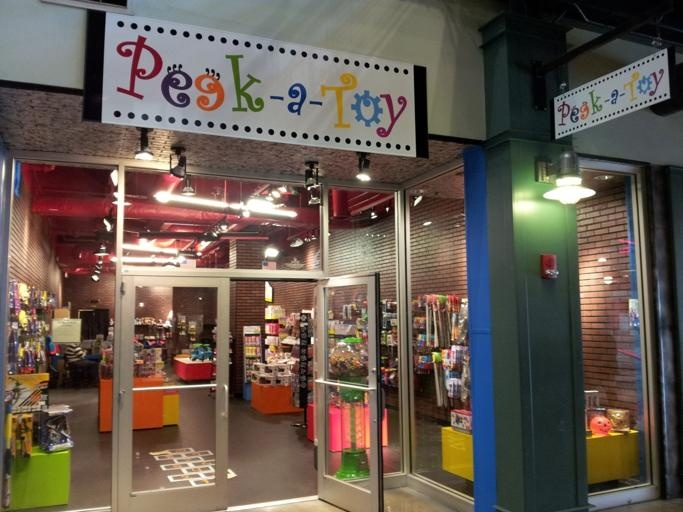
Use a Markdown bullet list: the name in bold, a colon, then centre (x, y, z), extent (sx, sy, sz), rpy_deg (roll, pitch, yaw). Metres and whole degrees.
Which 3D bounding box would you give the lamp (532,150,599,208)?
- **lamp**: centre (2.128, -0.720, 5.354), extent (0.519, 0.569, 0.529), rpy_deg (2, -6, -27)

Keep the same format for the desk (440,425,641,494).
- **desk**: centre (2.264, 2.168, 6.164), extent (2.074, 0.549, 0.332), rpy_deg (0, -5, -1)

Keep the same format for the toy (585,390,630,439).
- **toy**: centre (2.908, 1.716, 6.391), extent (0.513, 0.545, 0.510), rpy_deg (2, -6, -8)
